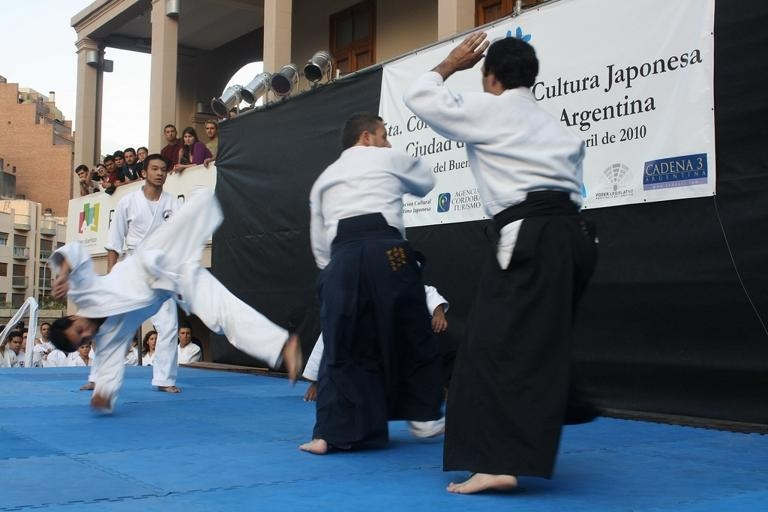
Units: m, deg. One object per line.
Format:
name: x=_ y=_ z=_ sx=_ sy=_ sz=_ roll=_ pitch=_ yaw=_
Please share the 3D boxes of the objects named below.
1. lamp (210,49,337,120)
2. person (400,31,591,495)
lamp: x=-1.598 y=-2.347 z=10.848 sx=1.908 sy=0.567 sz=0.531 roll=-13 pitch=-11 yaw=27
person: x=0.728 y=0.063 z=4.504 sx=0.970 sy=2.312 sz=0.423 roll=0 pitch=0 yaw=16
